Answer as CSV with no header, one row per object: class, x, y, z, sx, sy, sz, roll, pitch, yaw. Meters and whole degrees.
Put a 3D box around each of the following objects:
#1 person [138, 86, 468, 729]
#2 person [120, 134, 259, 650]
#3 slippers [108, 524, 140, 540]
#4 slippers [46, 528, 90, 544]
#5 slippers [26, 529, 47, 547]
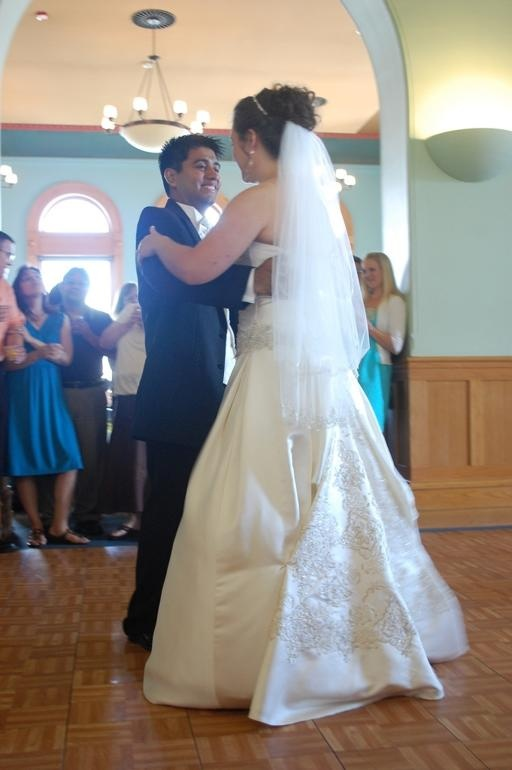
person,0.113,-0.010,1.641,0.866,1.454,0.728,-1,7,-22
person,-0.133,-0.015,1.815,0.426,1.378,0.399,-6,11,-27
slippers,-0.759,0.862,3.620,0.207,0.073,0.106,6,-5,-24
slippers,-1.050,0.839,3.485,0.256,0.081,0.088,0,-1,6
slippers,-1.205,0.847,3.429,0.102,0.076,0.197,1,-4,-19
